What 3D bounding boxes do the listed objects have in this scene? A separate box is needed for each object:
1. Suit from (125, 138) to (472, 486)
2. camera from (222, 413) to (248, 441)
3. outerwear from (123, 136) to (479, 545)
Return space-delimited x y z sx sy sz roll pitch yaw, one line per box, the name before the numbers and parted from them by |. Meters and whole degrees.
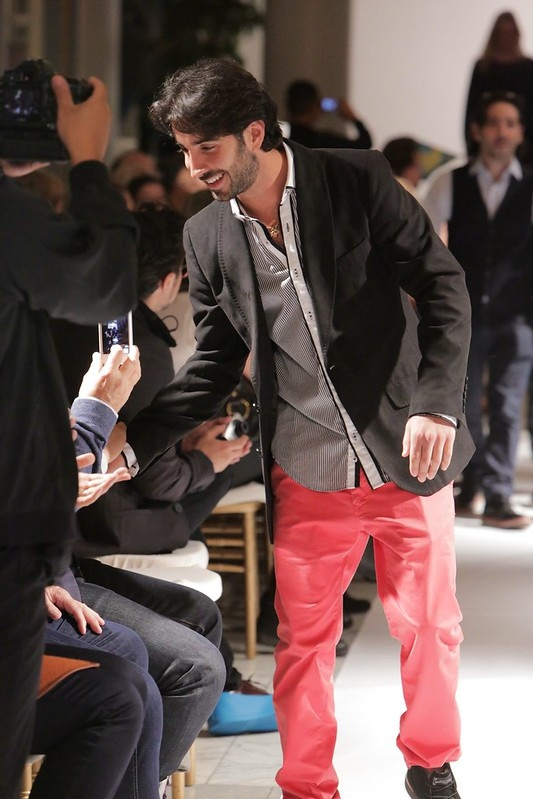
Suit | 0.009 -0.127 1.550 0.698 0.604 0.437 -9 16 18
camera | -0.107 0.087 2.674 0.092 0.079 0.033 7 2 -37
outerwear | 0.021 -0.097 1.581 0.769 0.689 0.485 -9 11 27
